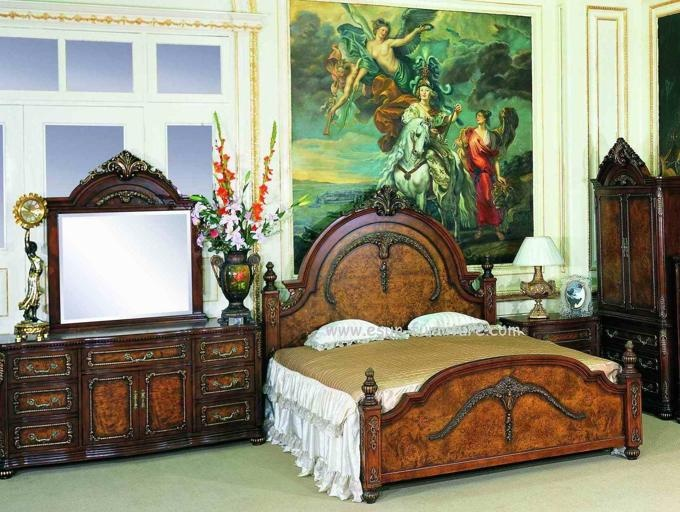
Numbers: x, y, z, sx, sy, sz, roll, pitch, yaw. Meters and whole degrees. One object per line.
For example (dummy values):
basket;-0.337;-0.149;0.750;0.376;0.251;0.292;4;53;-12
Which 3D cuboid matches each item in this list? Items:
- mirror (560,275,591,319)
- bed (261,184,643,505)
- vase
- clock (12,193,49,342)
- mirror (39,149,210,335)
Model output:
mirror;2.465;0.447;6.942;0.399;0.554;0.038;0;3;5
bed;0.821;0.544;5.789;2.814;2.197;1.916;-3;8;-18
vase;-0.964;0.270;6.136;0.437;0.622;0.565;-2;7;-9
clock;-2.604;0.081;5.591;0.314;1.183;0.712;-4;8;-24
mirror;-2.007;-0.096;5.983;1.495;1.770;0.146;-2;2;-22
